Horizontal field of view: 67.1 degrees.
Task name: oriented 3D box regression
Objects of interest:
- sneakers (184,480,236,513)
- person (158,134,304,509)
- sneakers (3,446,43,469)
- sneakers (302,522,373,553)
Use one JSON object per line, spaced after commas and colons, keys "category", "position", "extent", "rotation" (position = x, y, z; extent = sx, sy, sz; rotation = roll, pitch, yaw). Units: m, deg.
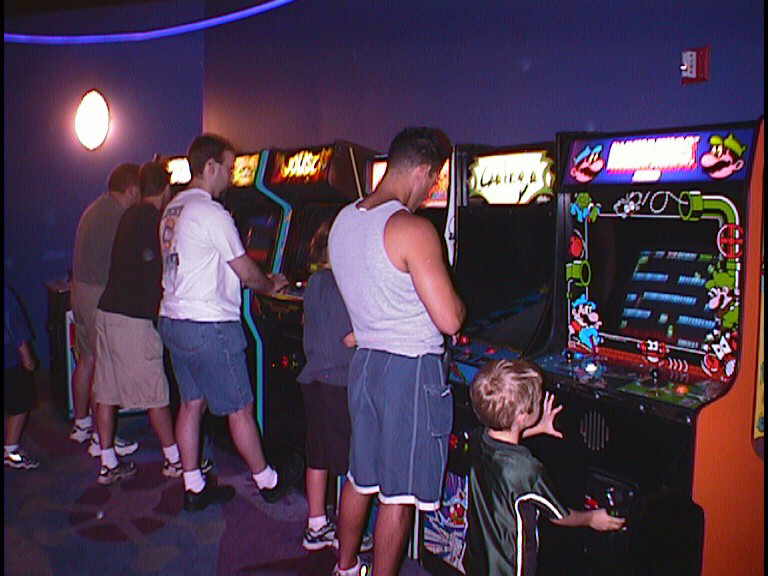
{"category": "sneakers", "position": [-1.060, 1.267, 3.626], "extent": [0.121, 0.171, 0.342], "rotation": [-1, 1, 41]}
{"category": "person", "position": [-0.988, 0.239, 3.365], "extent": [0.653, 2.200, 0.348], "rotation": [1, 11, 8]}
{"category": "sneakers", "position": [-2.540, 1.193, 4.082], "extent": [0.263, 0.124, 0.110], "rotation": [3, 0, -11]}
{"category": "sneakers", "position": [-0.249, 1.332, 3.194], "extent": [0.420, 0.214, 0.157], "rotation": [3, -10, -17]}
